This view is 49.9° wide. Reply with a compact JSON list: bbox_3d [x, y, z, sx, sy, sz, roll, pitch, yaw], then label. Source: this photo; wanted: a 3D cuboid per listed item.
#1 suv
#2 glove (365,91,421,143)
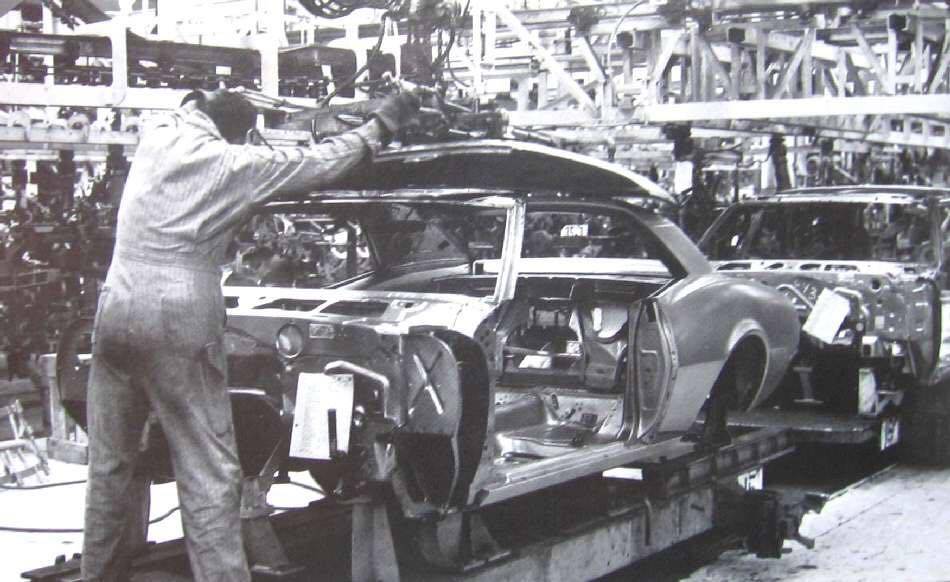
[{"bbox_3d":[0.895,0.307,8.652,6.633,2.011,3.654,-3,1,-42],"label":"suv"},{"bbox_3d":[-0.553,-1.208,7.050,0.186,0.214,0.559,13,39,10],"label":"glove"}]
